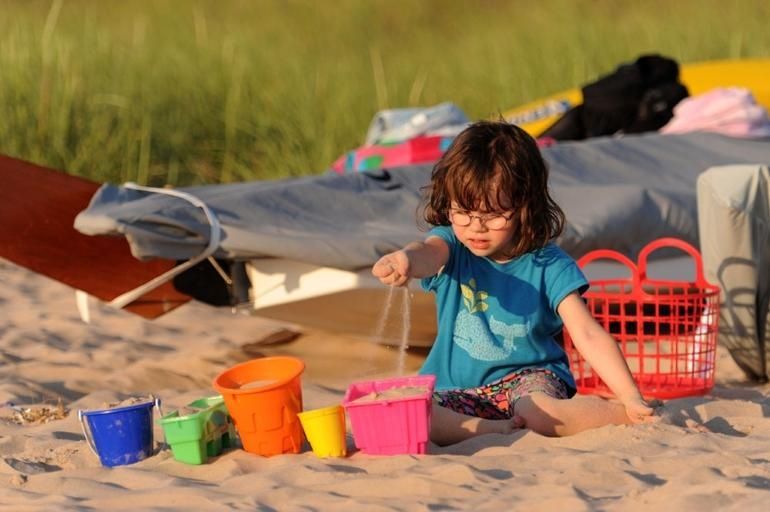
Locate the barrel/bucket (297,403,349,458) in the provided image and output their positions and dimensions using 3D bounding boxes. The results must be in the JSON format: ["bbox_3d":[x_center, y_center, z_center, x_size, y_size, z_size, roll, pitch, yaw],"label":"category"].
[{"bbox_3d":[-0.302,0.893,6.370,0.237,0.264,0.154,-6,8,0],"label":"barrel/bucket"}]

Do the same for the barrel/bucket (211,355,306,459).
[{"bbox_3d":[-0.593,0.780,6.629,0.548,0.403,0.511,-17,3,1],"label":"barrel/bucket"}]
